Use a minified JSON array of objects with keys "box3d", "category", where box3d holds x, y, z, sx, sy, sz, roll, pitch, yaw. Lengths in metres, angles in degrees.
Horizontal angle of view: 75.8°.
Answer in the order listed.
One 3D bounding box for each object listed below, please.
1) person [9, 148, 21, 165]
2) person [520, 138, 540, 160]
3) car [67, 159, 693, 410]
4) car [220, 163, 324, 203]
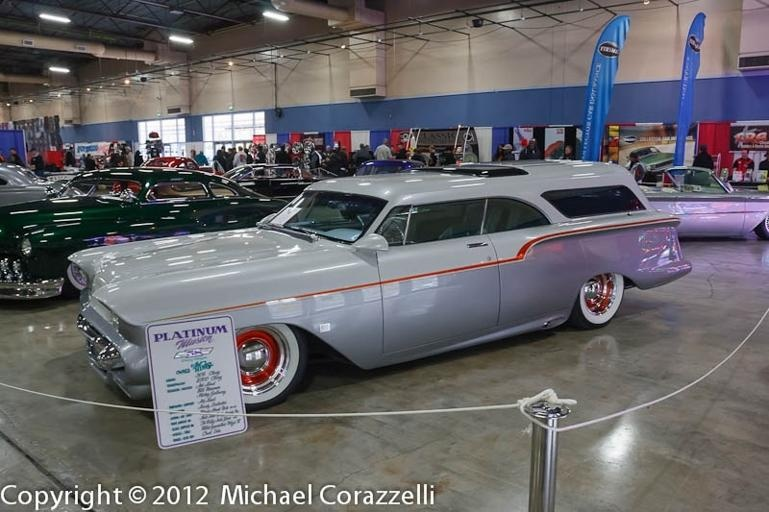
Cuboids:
[{"box3d":[-13.601,-3.655,18.074,0.354,0.643,1.430,-13,16,-33],"category":"person"},{"box3d":[5.085,-3.758,17.292,0.520,0.615,0.809,2,14,20],"category":"person"},{"box3d":[0.560,-0.057,5.603,6.801,1.320,2.606,-5,11,-24],"category":"car"},{"box3d":[-3.313,-2.101,14.310,3.229,0.709,1.202,-3,12,-25],"category":"car"}]
